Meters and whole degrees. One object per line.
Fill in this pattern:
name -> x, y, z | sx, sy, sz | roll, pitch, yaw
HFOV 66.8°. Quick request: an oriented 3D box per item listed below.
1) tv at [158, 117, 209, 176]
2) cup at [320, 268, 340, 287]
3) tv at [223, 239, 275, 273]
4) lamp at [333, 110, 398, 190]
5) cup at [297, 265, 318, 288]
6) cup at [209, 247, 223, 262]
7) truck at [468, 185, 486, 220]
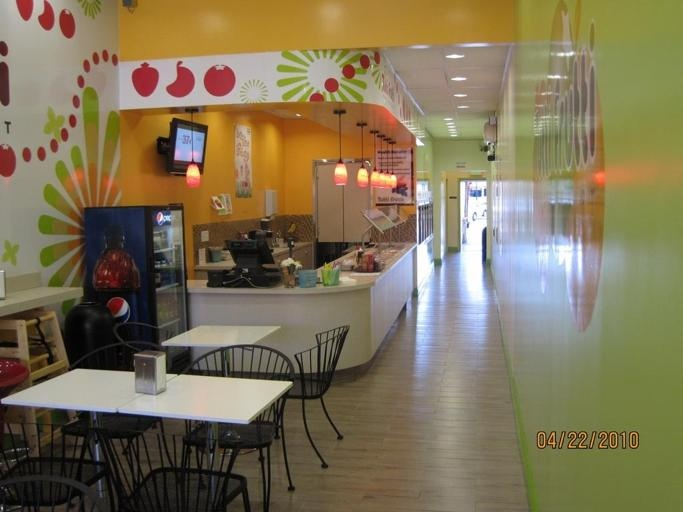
tv -> -2.260, -1.542, 7.320 | 0.295, 0.790, 0.884 | 8, 8, 13
cup -> -0.119, 0.247, 6.124 | 0.170, 0.160, 0.193 | 2, 7, 17
tv -> -1.077, -0.026, 6.069 | 0.491, 0.379, 0.350 | 0, 4, 14
lamp -> 0.489, -1.889, 9.307 | 0.321, 1.489, 1.459 | 1, 1, 35
cup -> -0.384, 0.245, 6.089 | 0.192, 0.198, 0.198 | 0, 3, 0
cup -> -2.047, -0.035, 8.604 | 0.146, 0.235, 0.339 | 3, 7, 23
truck -> 7.146, -2.832, 27.251 | 0.855, 2.022, 2.094 | 2, 6, 12
